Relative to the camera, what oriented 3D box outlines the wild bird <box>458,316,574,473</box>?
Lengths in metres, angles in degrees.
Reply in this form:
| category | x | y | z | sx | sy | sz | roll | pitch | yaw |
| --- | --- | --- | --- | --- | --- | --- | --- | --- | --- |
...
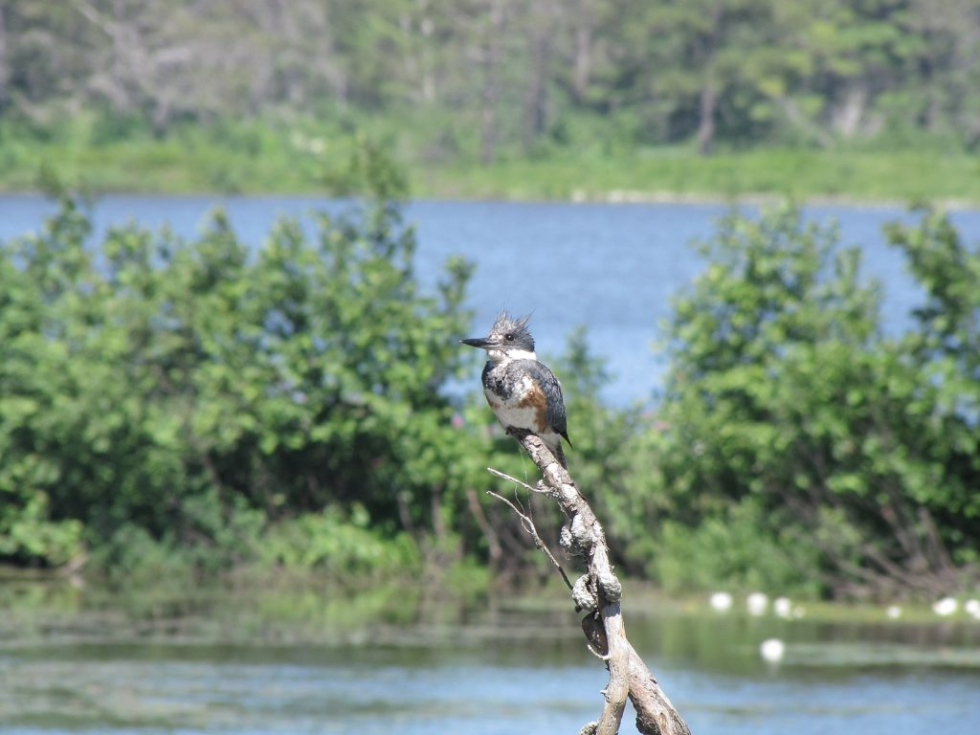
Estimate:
| category | x | y | z | sx | sy | sz | roll | pitch | yaw |
| --- | --- | --- | --- | --- | --- | --- | --- | --- | --- |
| wild bird | 0.311 | 0.193 | 20.711 | 0.608 | 1.385 | 1.345 | 10 | 11 | 36 |
